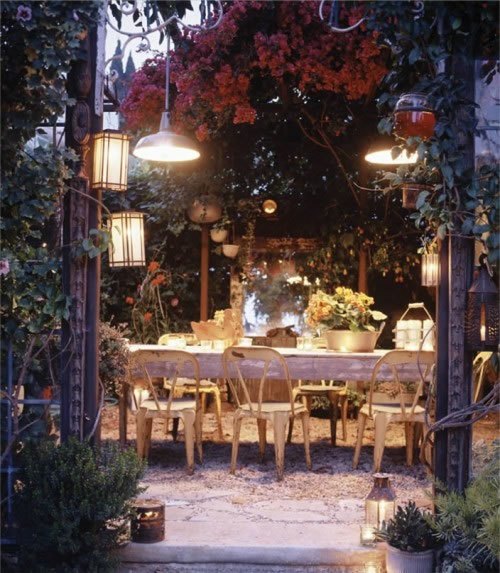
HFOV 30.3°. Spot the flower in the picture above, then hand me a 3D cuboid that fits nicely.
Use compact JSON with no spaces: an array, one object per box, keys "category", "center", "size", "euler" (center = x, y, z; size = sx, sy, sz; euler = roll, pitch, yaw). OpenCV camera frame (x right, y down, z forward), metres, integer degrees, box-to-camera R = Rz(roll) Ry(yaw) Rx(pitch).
[{"category":"flower","center":[0.626,0.157,6.025],"size":[0.496,0.280,0.285],"euler":[1,0,4]}]
